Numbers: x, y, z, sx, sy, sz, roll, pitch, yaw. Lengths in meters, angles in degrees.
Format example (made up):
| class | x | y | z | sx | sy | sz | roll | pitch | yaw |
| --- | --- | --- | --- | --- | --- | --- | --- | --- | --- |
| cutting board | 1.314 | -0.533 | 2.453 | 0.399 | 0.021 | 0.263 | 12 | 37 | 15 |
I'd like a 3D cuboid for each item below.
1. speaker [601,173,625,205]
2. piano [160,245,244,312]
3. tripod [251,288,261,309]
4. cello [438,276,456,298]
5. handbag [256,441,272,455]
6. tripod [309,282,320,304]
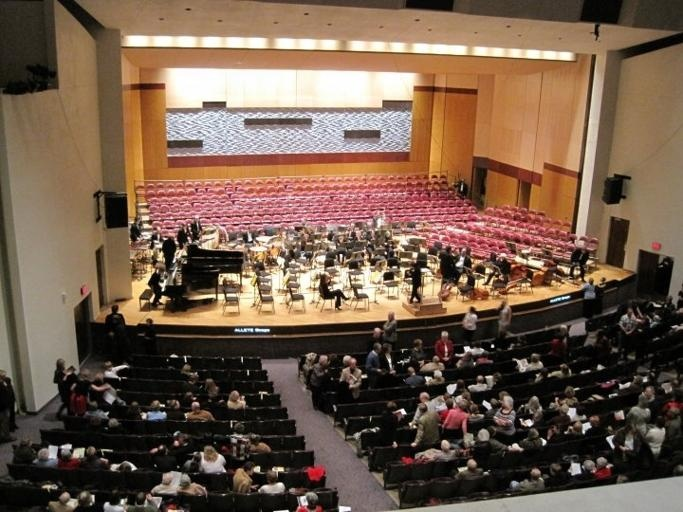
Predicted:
| class | x | y | z | sx | sy | sz | roll | pitch | yaw |
| --- | --- | --- | --- | --- | --- | --- | --- | --- | --- |
| speaker | 9.512 | -2.310 | 20.967 | 0.649 | 1.072 | 0.505 | 0 | 5 | -1 |
| piano | -3.813 | 0.567 | 16.845 | 1.845 | 1.432 | 2.296 | 3 | 30 | -7 |
| tripod | -2.430 | 1.232 | 17.019 | 0.434 | 0.666 | 0.402 | 2 | 21 | -5 |
| cello | 3.046 | 0.963 | 17.690 | 0.313 | 0.378 | 0.956 | -10 | 37 | 30 |
| handbag | -1.353 | 3.328 | 10.432 | 0.261 | 0.201 | 0.456 | -1 | 5 | -7 |
| tripod | -0.805 | 1.122 | 17.558 | 0.309 | 0.445 | 0.456 | -8 | 30 | -15 |
